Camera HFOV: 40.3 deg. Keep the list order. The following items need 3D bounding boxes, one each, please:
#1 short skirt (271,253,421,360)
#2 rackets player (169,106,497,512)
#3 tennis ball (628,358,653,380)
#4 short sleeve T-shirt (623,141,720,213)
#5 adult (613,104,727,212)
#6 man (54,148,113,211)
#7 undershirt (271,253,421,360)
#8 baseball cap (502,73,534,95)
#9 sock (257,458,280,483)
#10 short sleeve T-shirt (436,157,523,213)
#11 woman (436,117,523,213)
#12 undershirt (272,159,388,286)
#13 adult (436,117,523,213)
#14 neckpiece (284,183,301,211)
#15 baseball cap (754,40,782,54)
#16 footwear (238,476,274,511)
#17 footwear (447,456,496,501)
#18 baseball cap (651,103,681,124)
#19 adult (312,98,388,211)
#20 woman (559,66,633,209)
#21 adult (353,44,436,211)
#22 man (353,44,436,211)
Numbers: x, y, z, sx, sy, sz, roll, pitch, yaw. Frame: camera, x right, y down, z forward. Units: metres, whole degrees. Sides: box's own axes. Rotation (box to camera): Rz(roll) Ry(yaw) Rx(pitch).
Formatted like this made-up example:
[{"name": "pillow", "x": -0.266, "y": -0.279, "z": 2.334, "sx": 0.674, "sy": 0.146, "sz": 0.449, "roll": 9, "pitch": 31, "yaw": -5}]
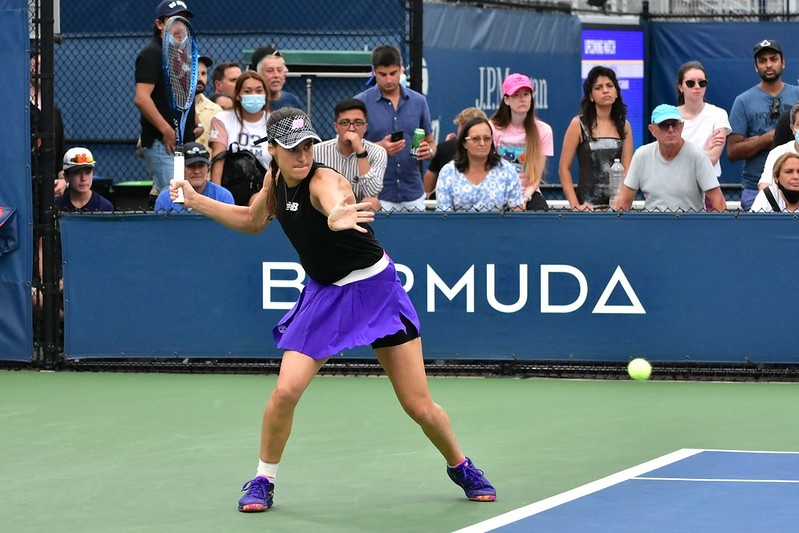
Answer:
[{"name": "short skirt", "x": -0.413, "y": 0.261, "z": 8.449, "sx": 1.148, "sy": 0.729, "sz": 0.742, "roll": -10, "pitch": -3, "yaw": 23}, {"name": "rackets player", "x": -0.501, "y": 0.315, "z": 8.196, "sx": 1.958, "sy": 3.000, "sz": 1.040, "roll": -1, "pitch": 12, "yaw": -3}, {"name": "tennis ball", "x": 2.197, "y": 1.047, "z": 10.940, "sx": 0.206, "sy": 0.234, "sz": 0.123, "roll": 1, "pitch": 12, "yaw": 7}, {"name": "short sleeve T-shirt", "x": 2.629, "y": -0.912, "z": 11.433, "sx": 1.190, "sy": 0.949, "sz": 0.643, "roll": 0, "pitch": 5, "yaw": 18}, {"name": "adult", "x": 2.524, "y": -1.036, "z": 11.255, "sx": 1.204, "sy": 1.290, "sz": 0.706, "roll": -1, "pitch": 3, "yaw": 28}, {"name": "man", "x": -3.508, "y": -0.937, "z": 12.300, "sx": 0.749, "sy": 0.871, "sz": 0.679, "roll": -2, "pitch": -1, "yaw": -24}, {"name": "undershirt", "x": -0.399, "y": 0.257, "z": 8.473, "sx": 1.171, "sy": 0.746, "sz": 0.714, "roll": -11, "pitch": -4, "yaw": 25}, {"name": "baseball cap", "x": 1.126, "y": -2.069, "z": 12.091, "sx": 0.278, "sy": 0.234, "sz": 0.388, "roll": -5, "pitch": -2, "yaw": -9}, {"name": "sock", "x": -1.006, "y": 1.567, "z": 8.314, "sx": 0.130, "sy": 0.229, "sz": 0.220, "roll": 5, "pitch": 4, "yaw": 0}, {"name": "short sleeve T-shirt", "x": 0.685, "y": -0.835, "z": 11.383, "sx": 0.874, "sy": 0.598, "sz": 0.415, "roll": -2, "pitch": 7, "yaw": -2}, {"name": "woman", "x": 0.746, "y": -1.054, "z": 11.422, "sx": 1.037, "sy": 1.324, "sz": 0.659, "roll": -1, "pitch": -2, "yaw": -1}, {"name": "undershirt", "x": -0.564, "y": -0.091, "z": 8.308, "sx": 0.625, "sy": 0.928, "sz": 0.557, "roll": -35, "pitch": 2, "yaw": -15}, {"name": "adult", "x": 0.746, "y": -1.054, "z": 11.422, "sx": 1.037, "sy": 1.324, "sz": 0.659, "roll": -1, "pitch": -2, "yaw": -1}, {"name": "neckpiece", "x": -0.809, "y": -0.523, "z": 8.039, "sx": 0.167, "sy": 0.254, "sz": 0.017, "roll": 11, "pitch": 12, "yaw": 43}, {"name": "baseball cap", "x": 3.988, "y": -2.579, "z": 12.697, "sx": 0.263, "sy": 0.158, "sz": 0.227, "roll": 2, "pitch": 13, "yaw": 9}, {"name": "footwear", "x": -1.091, "y": 1.746, "z": 8.260, "sx": 0.197, "sy": 0.231, "sz": 0.524, "roll": 3, "pitch": -3, "yaw": 6}, {"name": "footwear", "x": 0.443, "y": 1.639, "z": 8.407, "sx": 0.200, "sy": 0.251, "sz": 0.556, "roll": -6, "pitch": 15, "yaw": -30}, {"name": "baseball cap", "x": 2.462, "y": -1.563, "z": 11.113, "sx": 0.212, "sy": 0.152, "sz": 0.298, "roll": -1, "pitch": 1, "yaw": 0}, {"name": "adult", "x": -0.576, "y": -0.982, "z": 11.179, "sx": 0.834, "sy": 1.467, "sz": 0.814, "roll": 3, "pitch": -1, "yaw": 5}, {"name": "woman", "x": 1.996, "y": -0.910, "z": 11.993, "sx": 0.743, "sy": 2.568, "sz": 0.862, "roll": -1, "pitch": 9, "yaw": 1}, {"name": "adult", "x": -0.108, "y": -1.151, "z": 11.970, "sx": 0.788, "sy": 2.424, "sz": 0.798, "roll": -4, "pitch": 13, "yaw": -19}, {"name": "man", "x": -0.132, "y": -1.152, "z": 11.979, "sx": 0.779, "sy": 2.405, "sz": 0.806, "roll": -2, "pitch": 14, "yaw": -8}]
